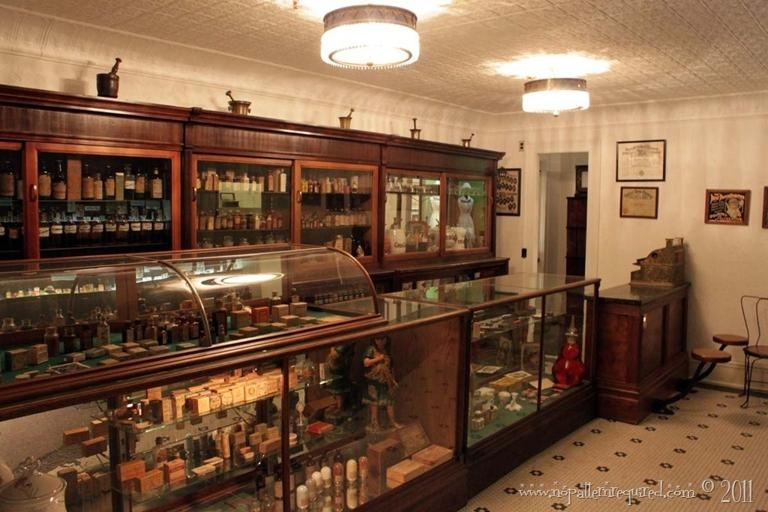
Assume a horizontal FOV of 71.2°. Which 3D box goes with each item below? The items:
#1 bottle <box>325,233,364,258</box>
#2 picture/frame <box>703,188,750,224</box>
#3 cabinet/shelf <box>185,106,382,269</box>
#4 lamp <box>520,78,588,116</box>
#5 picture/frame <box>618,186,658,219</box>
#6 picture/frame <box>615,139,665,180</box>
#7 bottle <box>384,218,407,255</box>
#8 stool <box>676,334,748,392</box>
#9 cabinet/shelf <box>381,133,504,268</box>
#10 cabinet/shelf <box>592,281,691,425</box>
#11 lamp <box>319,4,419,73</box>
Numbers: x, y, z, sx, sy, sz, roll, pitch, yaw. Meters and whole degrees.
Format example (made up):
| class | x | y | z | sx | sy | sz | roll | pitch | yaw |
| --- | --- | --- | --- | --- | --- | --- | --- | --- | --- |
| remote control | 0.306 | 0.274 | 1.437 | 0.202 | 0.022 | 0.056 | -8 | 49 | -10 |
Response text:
| class | x | y | z | sx | sy | sz | roll | pitch | yaw |
| --- | --- | --- | --- | --- | --- | --- | --- | --- | --- |
| bottle | -0.429 | -0.125 | 5.739 | 0.306 | 0.252 | 0.120 | -2 | 7 | -11 |
| picture/frame | 4.459 | -0.662 | 6.938 | 0.488 | 0.450 | 0.043 | 7 | 8 | 37 |
| cabinet/shelf | -1.046 | -0.658 | 5.902 | 0.430 | 1.472 | 2.688 | 9 | 10 | 42 |
| lamp | 1.737 | -1.643 | 5.520 | 0.482 | 0.219 | 0.455 | 0 | 4 | 1 |
| picture/frame | 3.589 | -0.768 | 7.519 | 0.493 | 0.431 | 0.052 | 6 | 6 | 37 |
| picture/frame | 3.605 | -1.367 | 7.481 | 0.653 | 0.560 | 0.052 | 4 | 5 | 40 |
| bottle | 0.166 | -0.266 | 6.839 | 0.125 | 0.463 | 0.404 | 9 | 12 | 36 |
| stool | 3.829 | 1.081 | 6.092 | 0.748 | 0.149 | 0.437 | -18 | 14 | -27 |
| cabinet/shelf | 0.711 | -0.664 | 7.450 | 2.412 | 1.617 | 0.472 | -4 | 6 | -42 |
| cabinet/shelf | 2.812 | 1.099 | 5.925 | 0.630 | 1.013 | 1.555 | 5 | 8 | 39 |
| lamp | -0.088 | -1.603 | 3.903 | 0.513 | 0.222 | 0.482 | -1 | 3 | -17 |
